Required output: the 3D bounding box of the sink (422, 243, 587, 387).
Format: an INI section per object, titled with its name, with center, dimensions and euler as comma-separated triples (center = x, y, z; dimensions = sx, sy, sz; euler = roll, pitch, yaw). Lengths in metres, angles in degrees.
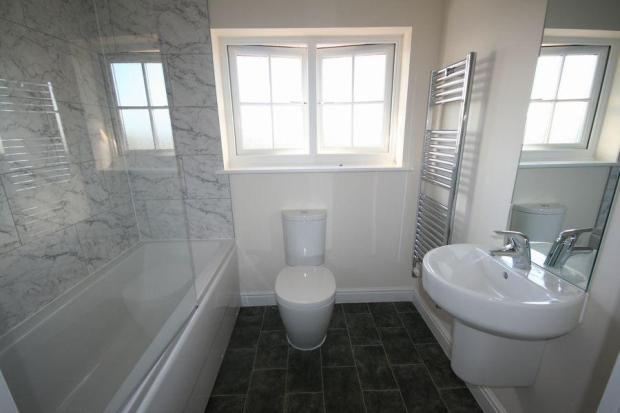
[sink]
center = 1.107, 0.722, 2.423
dimensions = 0.715, 0.721, 0.939
euler = -3, 14, -1
